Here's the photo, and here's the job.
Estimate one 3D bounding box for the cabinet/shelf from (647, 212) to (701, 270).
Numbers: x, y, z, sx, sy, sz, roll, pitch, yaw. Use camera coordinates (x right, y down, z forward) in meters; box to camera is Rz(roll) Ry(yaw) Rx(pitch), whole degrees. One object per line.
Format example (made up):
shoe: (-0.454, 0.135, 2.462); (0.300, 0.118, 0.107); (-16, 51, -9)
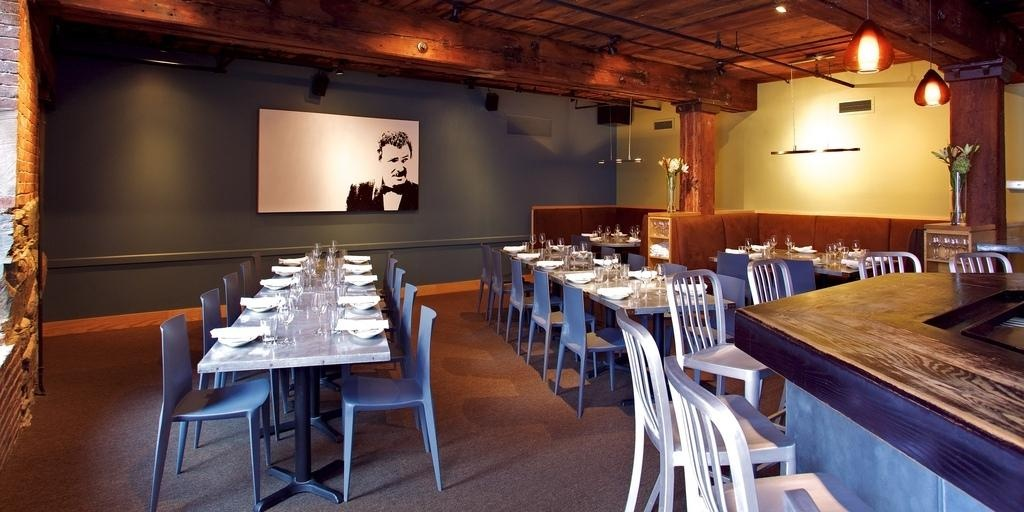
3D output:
cabinet/shelf: (2.996, -0.309, 11.260); (1.100, 1.196, 1.003); (1, -3, -19)

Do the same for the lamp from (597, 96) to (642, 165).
lamp: (2.384, -2.738, 13.200); (0.628, 1.350, 0.719); (-7, 11, -42)

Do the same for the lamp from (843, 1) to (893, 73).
lamp: (4.182, -2.475, 6.827); (0.468, 0.579, 0.230); (3, 9, 25)

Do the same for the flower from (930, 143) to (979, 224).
flower: (6.900, -1.118, 9.087); (0.467, 1.244, 0.350); (5, 10, 34)

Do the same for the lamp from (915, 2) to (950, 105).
lamp: (6.307, -2.926, 8.702); (0.360, 1.416, 1.493); (5, 9, 35)

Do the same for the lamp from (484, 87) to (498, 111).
lamp: (-0.371, -3.202, 12.026); (0.367, 0.429, 0.219); (-4, 9, -25)
